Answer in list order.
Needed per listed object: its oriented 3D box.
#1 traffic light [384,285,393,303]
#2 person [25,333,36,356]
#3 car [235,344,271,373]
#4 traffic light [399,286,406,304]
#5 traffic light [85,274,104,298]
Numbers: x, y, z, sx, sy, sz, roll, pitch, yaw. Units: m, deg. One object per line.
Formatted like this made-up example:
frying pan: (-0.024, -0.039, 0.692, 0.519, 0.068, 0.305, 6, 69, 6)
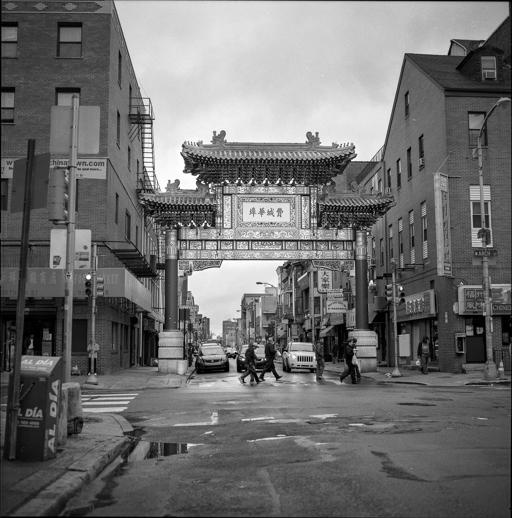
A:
traffic light: (5.604, 1.445, 31.832, 0.284, 0.739, 1.344, -3, -10, 11)
person: (-9.456, 3.582, 31.556, 0.548, 0.821, 0.249, -7, -10, 32)
car: (-0.346, 5.279, 40.217, 0.994, 1.126, 2.309, 0, -16, -5)
traffic light: (5.937, 1.471, 30.917, 0.189, 0.740, 0.687, -2, -9, 5)
traffic light: (-5.564, 0.923, 25.880, 0.351, 0.776, 0.692, -5, -8, 25)
